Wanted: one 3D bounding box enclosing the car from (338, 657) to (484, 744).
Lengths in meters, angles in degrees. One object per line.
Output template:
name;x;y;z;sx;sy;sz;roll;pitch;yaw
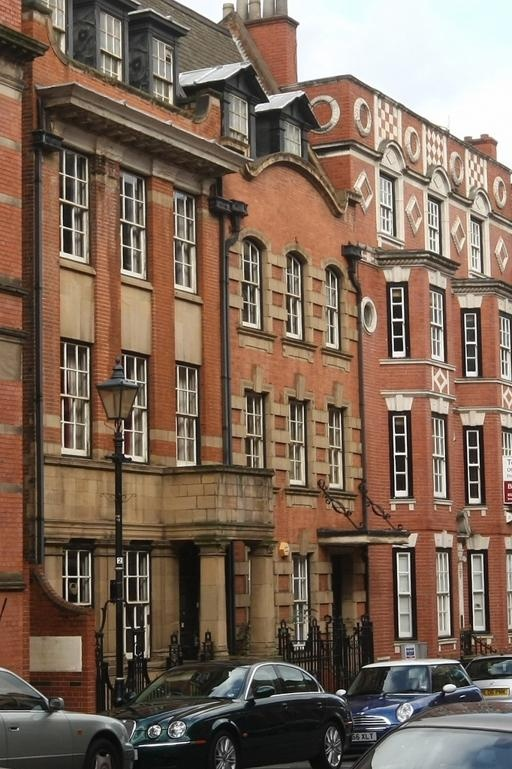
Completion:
car;1.953;4.077;22.931;1.388;1.046;2.031;-9;-15;33
